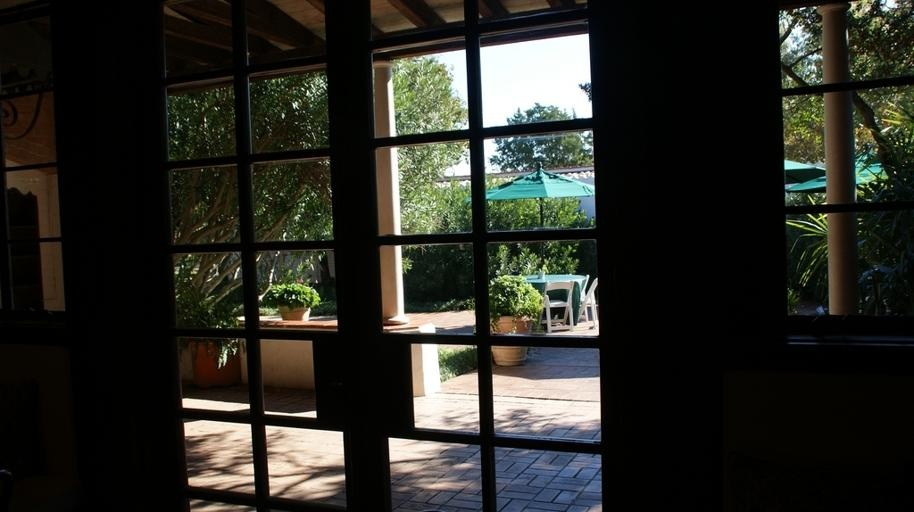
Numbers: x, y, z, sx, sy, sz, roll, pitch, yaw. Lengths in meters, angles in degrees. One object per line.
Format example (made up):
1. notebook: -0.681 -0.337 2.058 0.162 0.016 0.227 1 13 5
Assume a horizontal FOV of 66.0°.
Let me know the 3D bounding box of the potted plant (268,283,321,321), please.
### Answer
1. potted plant: -1.863 0.535 8.208 0.561 0.368 0.562 2 0 -8

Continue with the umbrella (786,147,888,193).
1. umbrella: 2.129 -0.468 4.035 0.270 0.184 0.536 -1 -1 -9

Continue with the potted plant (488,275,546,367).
1. potted plant: 0.661 0.765 7.838 0.554 1.088 1.393 -2 -1 4

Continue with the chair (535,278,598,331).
1. chair: 1.341 0.602 8.846 0.725 0.983 0.712 -1 35 10

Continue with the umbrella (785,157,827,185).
1. umbrella: 2.046 -0.497 4.114 0.216 0.058 0.186 12 -12 -23

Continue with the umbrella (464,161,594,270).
1. umbrella: 0.920 -0.589 8.372 1.003 0.879 0.989 -2 0 26
